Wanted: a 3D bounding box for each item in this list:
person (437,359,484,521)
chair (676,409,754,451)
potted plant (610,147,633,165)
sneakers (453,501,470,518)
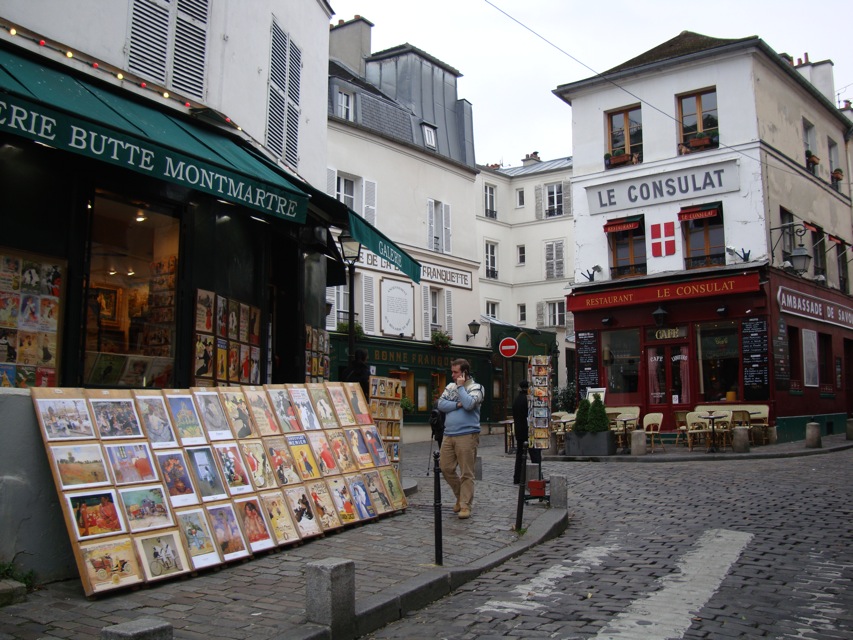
[{"bbox_3d":[0.489,1.604,10.620,0.595,2.128,0.385,-3,-6,0],"label":"person"},{"bbox_3d":[7.143,2.744,19.687,1.280,0.754,1.330,2,-6,-26],"label":"chair"},{"bbox_3d":[6.365,-5.234,25.347,0.797,0.495,0.562,-12,-7,44],"label":"potted plant"},{"bbox_3d":[0.489,2.551,10.462,0.128,0.170,0.378,0,-14,6],"label":"sneakers"}]
